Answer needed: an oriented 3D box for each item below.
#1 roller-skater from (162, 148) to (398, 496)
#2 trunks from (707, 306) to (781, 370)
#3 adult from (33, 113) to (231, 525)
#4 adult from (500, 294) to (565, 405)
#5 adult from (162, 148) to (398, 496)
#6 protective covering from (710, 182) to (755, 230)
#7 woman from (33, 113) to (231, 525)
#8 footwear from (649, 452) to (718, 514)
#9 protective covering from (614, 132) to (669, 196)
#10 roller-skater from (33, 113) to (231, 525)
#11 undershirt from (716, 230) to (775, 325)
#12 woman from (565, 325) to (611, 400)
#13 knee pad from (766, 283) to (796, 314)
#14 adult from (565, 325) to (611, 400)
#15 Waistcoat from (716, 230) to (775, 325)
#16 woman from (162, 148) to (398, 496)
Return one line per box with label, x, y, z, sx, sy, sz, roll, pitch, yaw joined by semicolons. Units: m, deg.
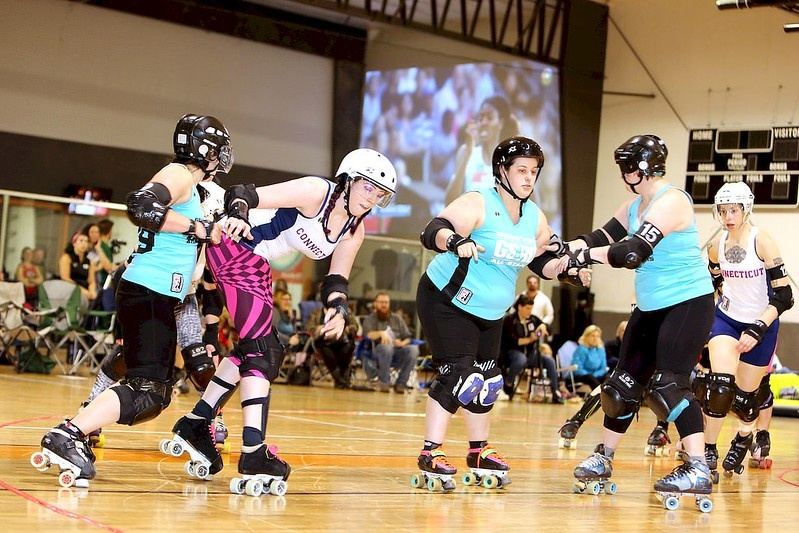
roller-skater;-0.987;0.338;5.107;1.428;2.614;1.418;6;-7;18
trunks;3.207;0.641;6.977;0.722;0.308;0.924;-13;17;-33
adult;-1.790;0.181;4.936;1.035;1.998;0.557;5;-3;-17
adult;2.455;1.491;12.882;1.113;1.948;0.948;-1;4;25
adult;-1.013;0.342;5.148;1.464;2.625;1.424;6;-7;25
protective covering;3.239;-0.623;6.807;0.319;0.452;0.337;3;-4;23
woman;-1.792;0.181;4.938;1.036;1.999;0.561;5;-3;-16
footwear;2.156;1.639;5.294;0.438;0.477;0.313;5;-8;4
protective covering;1.969;-0.830;5.745;0.396;0.499;0.439;3;3;18
roller-skater;-1.792;0.181;4.938;1.037;1.999;0.561;5;-3;-16
undershirt;3.384;0.145;6.985;0.433;0.894;0.313;-2;-12;26
woman;3.607;1.913;13.116;0.582;1.423;0.800;3;-8;1
knee pad;3.617;0.306;6.649;0.221;0.251;0.113;4;-3;-1
adult;3.606;1.910;13.104;0.584;1.442;0.783;3;-7;-2
Waistcoat;3.376;0.142;6.980;0.431;0.884;0.311;-5;-10;31
woman;-1.016;0.333;5.090;1.372;2.556;1.375;5;-7;16
